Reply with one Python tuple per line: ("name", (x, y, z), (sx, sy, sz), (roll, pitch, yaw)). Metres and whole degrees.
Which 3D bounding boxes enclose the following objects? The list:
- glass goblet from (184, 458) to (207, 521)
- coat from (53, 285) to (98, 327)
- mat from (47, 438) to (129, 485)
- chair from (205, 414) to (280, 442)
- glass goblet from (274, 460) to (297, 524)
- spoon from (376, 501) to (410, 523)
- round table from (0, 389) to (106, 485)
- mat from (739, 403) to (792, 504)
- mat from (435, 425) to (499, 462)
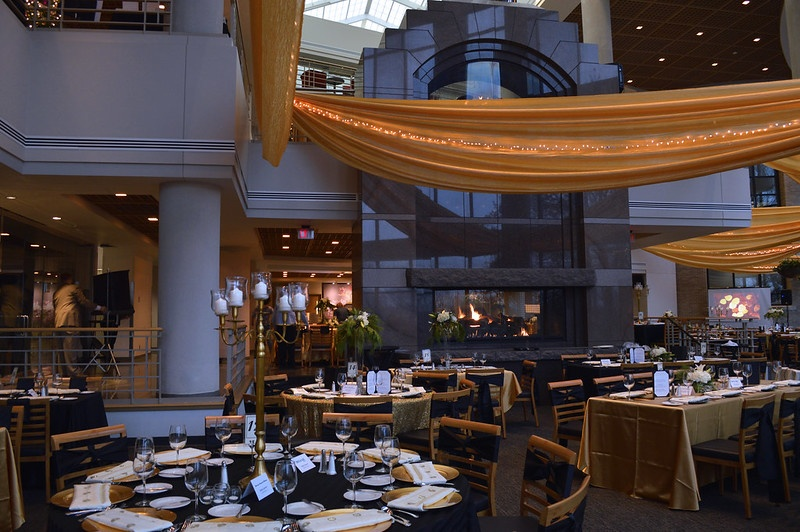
("glass goblet", (-1.879, 2.027, 6.240), (0.181, 0.506, 0.299), (2, -8, -41))
("coat", (-6.312, 0.765, 13.215), (0.726, 0.499, 1.493), (-8, 28, -21))
("mat", (-3.287, 2.058, 7.255), (0.164, 0.418, 0.807), (-8, -4, 37))
("chair", (-1.789, 1.686, 7.350), (0.698, 0.396, 0.442), (1, -10, -10))
("glass goblet", (-1.038, 2.002, 6.192), (0.175, 0.524, 0.360), (-2, -6, -9))
("spoon", (-0.078, 2.240, 6.250), (0.092, 0.093, 0.518), (5, 0, -25))
("round table", (-4.448, 2.186, 8.836), (1.140, 0.843, 1.133), (-3, -11, -1))
("mat", (4.410, 2.229, 8.227), (0.818, 1.235, 0.211), (2, -7, -37))
("mat", (0.736, 1.893, 7.328), (0.596, 0.275, 0.122), (1, -5, 32))
